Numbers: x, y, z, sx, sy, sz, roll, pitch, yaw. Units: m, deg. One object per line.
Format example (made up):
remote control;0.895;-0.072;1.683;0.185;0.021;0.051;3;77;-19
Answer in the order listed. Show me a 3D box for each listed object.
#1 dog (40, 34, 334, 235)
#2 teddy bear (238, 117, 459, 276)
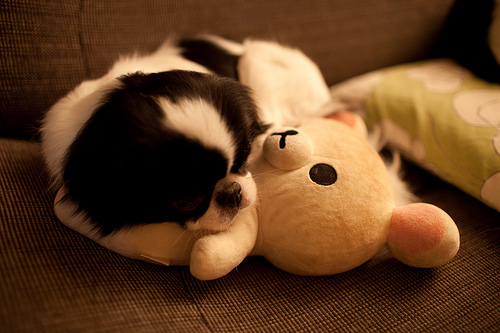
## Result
dog;-0.195;-0.111;1.582;0.721;0.320;0.864;4;30;14
teddy bear;0.301;0.195;1.553;0.612;0.282;0.502;21;55;5
